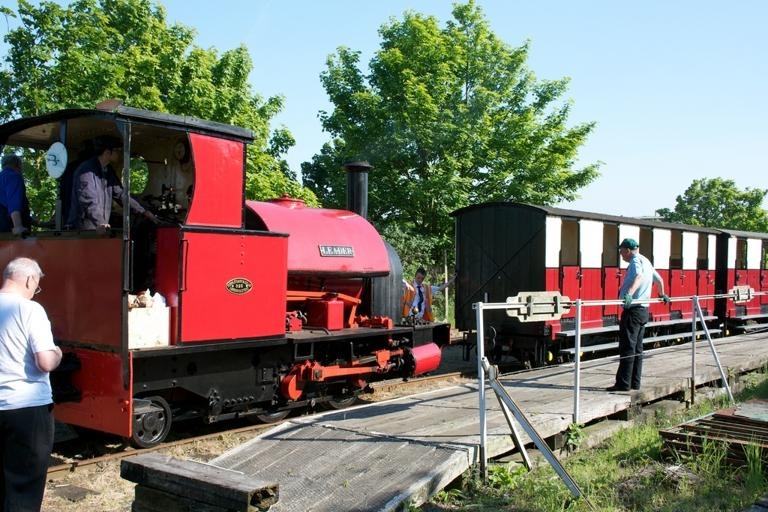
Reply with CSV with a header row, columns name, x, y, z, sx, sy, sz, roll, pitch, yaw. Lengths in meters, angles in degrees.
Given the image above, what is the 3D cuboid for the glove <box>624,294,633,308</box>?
name,x,y,z,sx,sy,sz,roll,pitch,yaw
glove,3.783,0.682,10.221,0.059,0.187,0.138,-3,-36,43

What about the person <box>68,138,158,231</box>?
name,x,y,z,sx,sy,sz,roll,pitch,yaw
person,-3.734,-0.995,9.006,0.992,1.286,1.557,-4,13,-41

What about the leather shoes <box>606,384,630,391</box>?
name,x,y,z,sx,sy,sz,roll,pitch,yaw
leather shoes,3.667,2.046,10.372,0.347,0.147,0.120,3,0,28

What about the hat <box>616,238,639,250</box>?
name,x,y,z,sx,sy,sz,roll,pitch,yaw
hat,3.824,-0.220,10.467,0.255,0.195,0.354,-8,14,-44
